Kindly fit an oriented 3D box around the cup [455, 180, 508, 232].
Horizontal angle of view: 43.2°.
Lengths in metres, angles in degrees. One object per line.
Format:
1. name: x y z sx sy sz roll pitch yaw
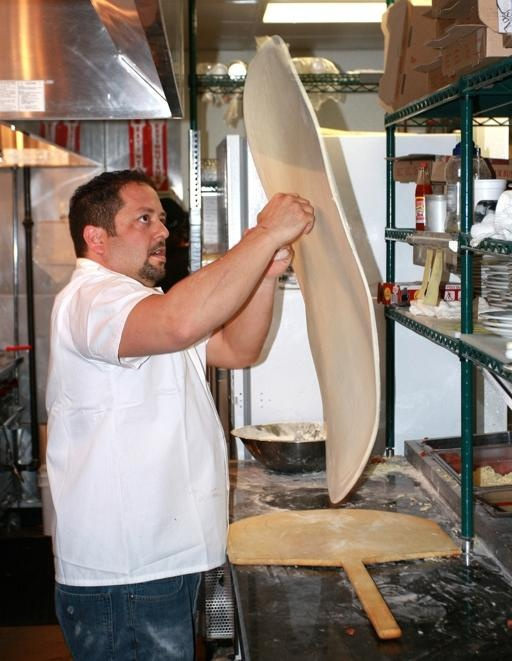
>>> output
1. cup: 0.514 -0.284 1.495 0.120 0.160 0.113 0 8 0
